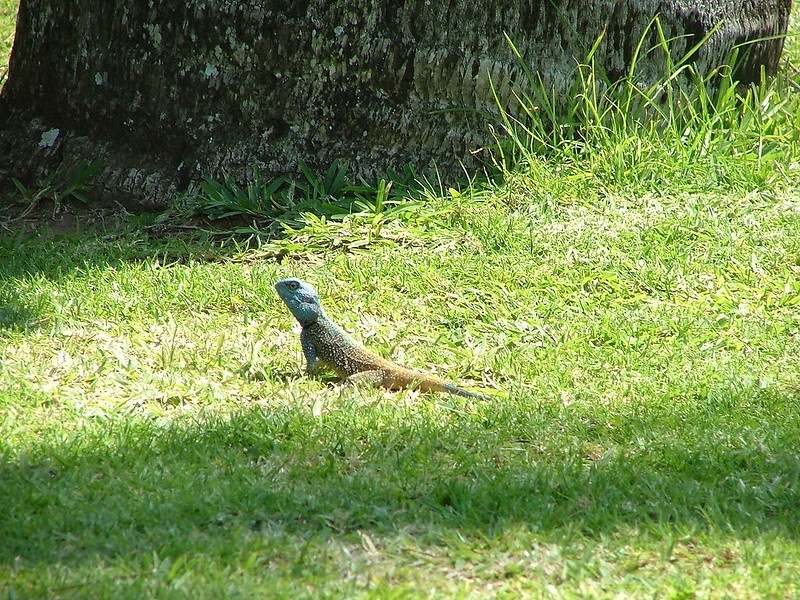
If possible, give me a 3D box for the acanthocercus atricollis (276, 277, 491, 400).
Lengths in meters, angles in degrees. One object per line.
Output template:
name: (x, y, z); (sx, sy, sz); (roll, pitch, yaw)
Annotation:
acanthocercus atricollis: (-0.074, 0.165, 4.471); (1.029, 0.423, 0.401); (21, 9, 7)
